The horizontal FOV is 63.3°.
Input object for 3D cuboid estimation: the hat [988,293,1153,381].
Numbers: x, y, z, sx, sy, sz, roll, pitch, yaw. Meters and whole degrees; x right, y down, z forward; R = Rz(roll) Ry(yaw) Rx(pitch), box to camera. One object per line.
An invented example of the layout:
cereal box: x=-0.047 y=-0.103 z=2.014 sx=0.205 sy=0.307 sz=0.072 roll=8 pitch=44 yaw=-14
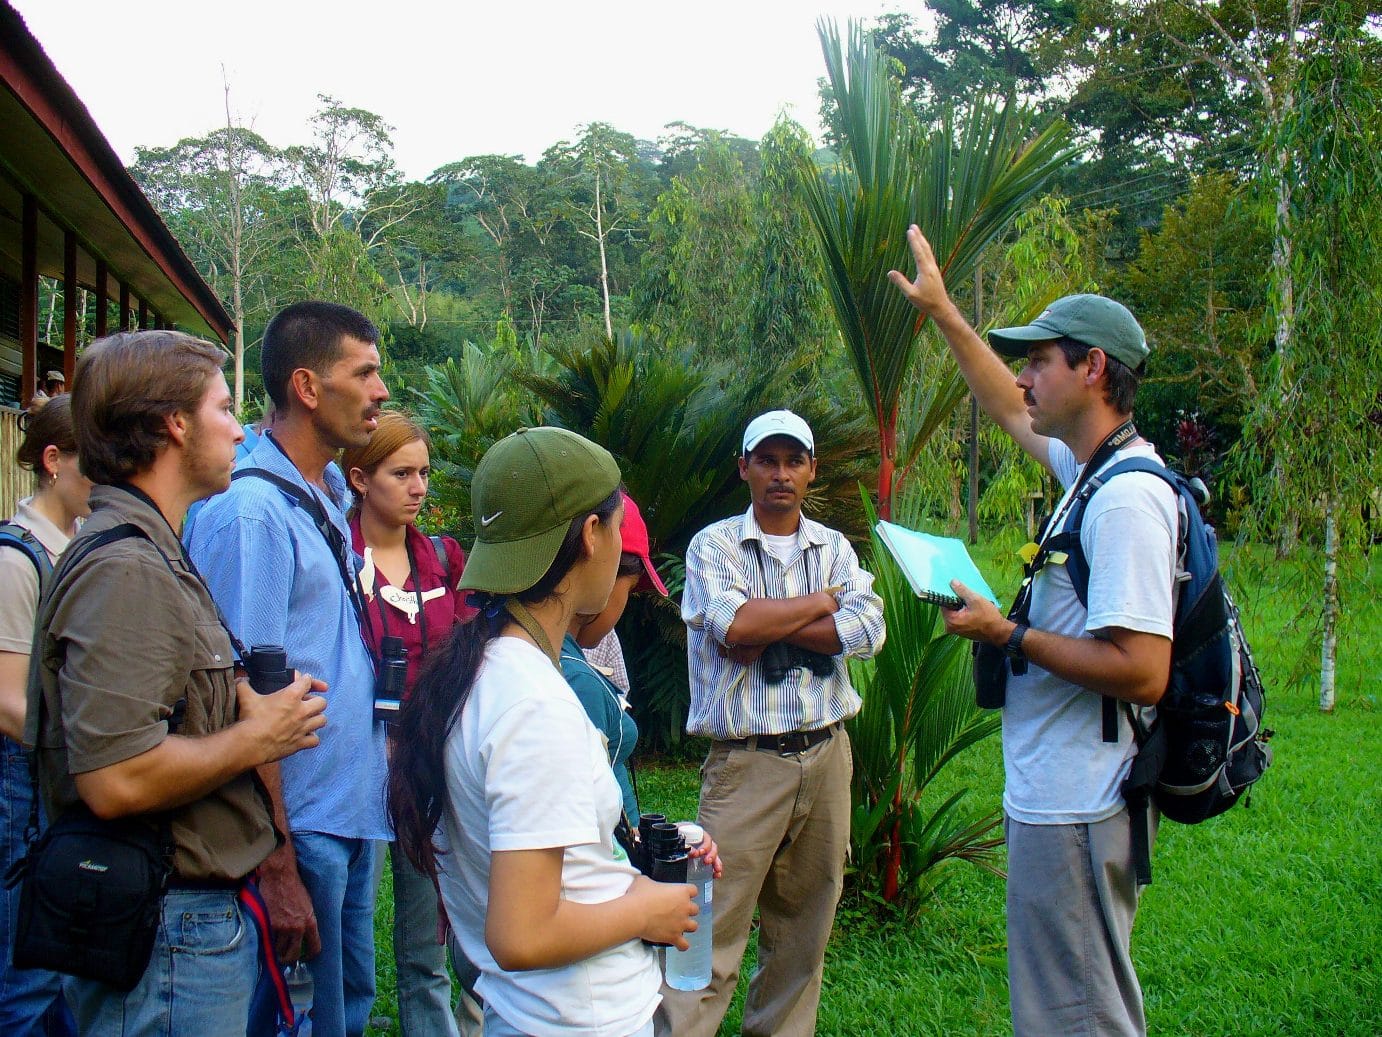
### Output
hat: x=1.308 y=-0.634 z=3.824 sx=0.409 sy=0.246 sz=0.289 roll=7 pitch=3 yaw=5

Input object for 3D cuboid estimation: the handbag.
handbag: x=-1.519 y=0.956 z=2.834 sx=0.349 sy=0.433 sz=0.143 roll=1 pitch=6 yaw=-9

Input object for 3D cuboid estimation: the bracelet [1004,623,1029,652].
bracelet: x=1.056 y=0.390 z=3.659 sx=0.051 sy=0.097 sz=0.082 roll=4 pitch=-19 yaw=36
